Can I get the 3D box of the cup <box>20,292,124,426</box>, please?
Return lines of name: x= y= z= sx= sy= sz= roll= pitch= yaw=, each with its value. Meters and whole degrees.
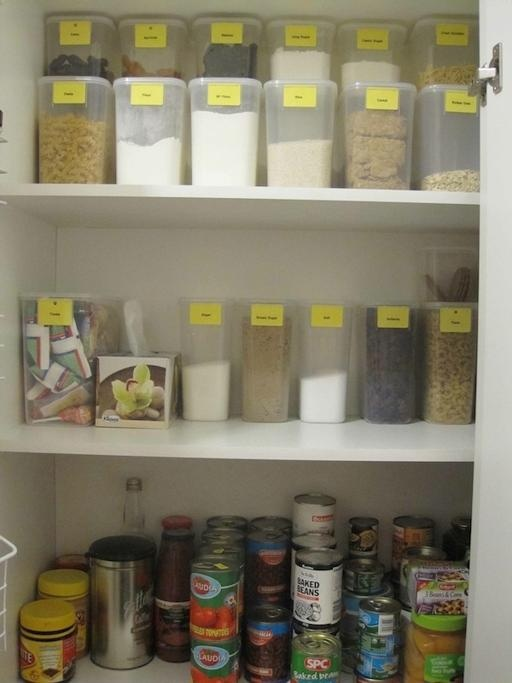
cup: x=-0.395 y=0.043 z=1.567 sx=0.226 sy=0.268 sz=0.227 roll=-4 pitch=2 yaw=0

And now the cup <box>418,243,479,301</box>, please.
cup: x=0.436 y=-0.160 z=1.648 sx=0.130 sy=0.115 sz=0.127 roll=0 pitch=1 yaw=0

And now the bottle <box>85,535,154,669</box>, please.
bottle: x=-0.279 y=0.559 z=1.519 sx=0.144 sy=0.245 sz=0.105 roll=-3 pitch=4 yaw=-11
